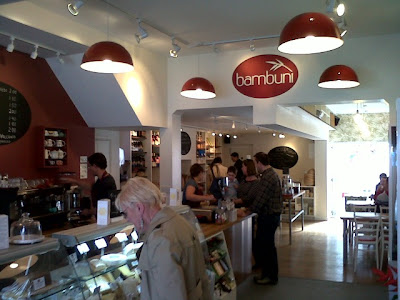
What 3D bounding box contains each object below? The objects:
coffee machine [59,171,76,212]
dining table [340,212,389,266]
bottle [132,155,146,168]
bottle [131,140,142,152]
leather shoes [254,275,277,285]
[{"bbox_3d":[-1.864,0.608,4.449,0.289,0.531,0.302,-7,-2,-40],"label":"coffee machine"},{"bbox_3d":[3.329,1.679,6.416,0.679,0.668,0.584,-16,-4,43],"label":"dining table"},{"bbox_3d":[-1.678,0.337,8.637,0.133,0.325,0.557,1,-1,26],"label":"bottle"},{"bbox_3d":[-1.735,-0.125,8.626,0.193,0.317,0.585,1,-1,17],"label":"bottle"},{"bbox_3d":[1.098,2.223,5.300,0.286,0.122,0.167,6,-5,-6],"label":"leather shoes"}]
